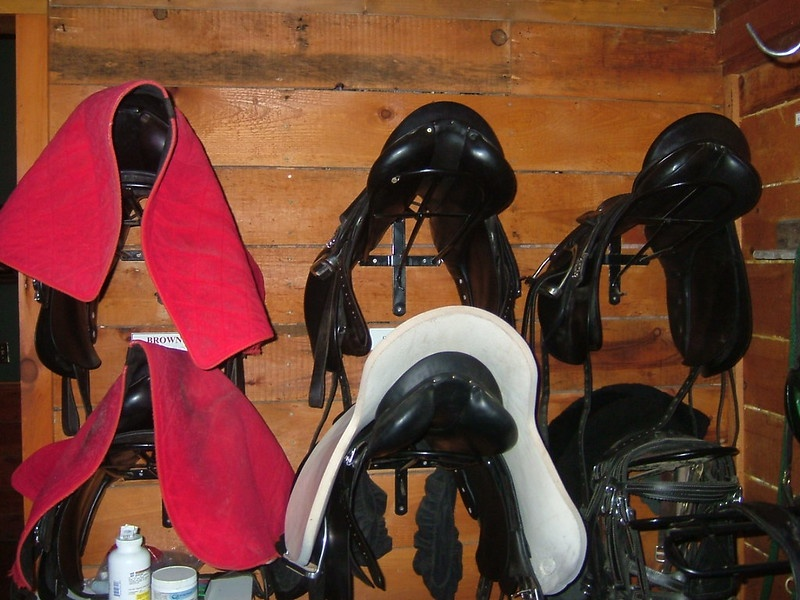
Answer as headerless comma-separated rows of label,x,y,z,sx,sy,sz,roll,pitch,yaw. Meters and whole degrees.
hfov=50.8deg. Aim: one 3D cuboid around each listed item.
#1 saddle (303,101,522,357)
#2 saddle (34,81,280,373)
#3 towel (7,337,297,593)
saddle,0.060,-0.254,2.278,0.482,0.231,0.666,-20,-16,-9
saddle,-0.602,-0.185,1.985,0.587,0.696,0.201,-1,-2,-11
towel,-0.546,0.267,2.070,0.632,0.326,0.612,7,34,-12
